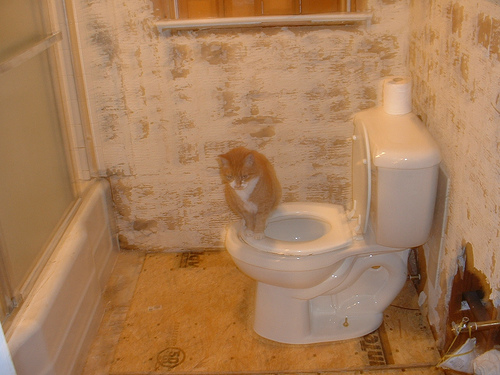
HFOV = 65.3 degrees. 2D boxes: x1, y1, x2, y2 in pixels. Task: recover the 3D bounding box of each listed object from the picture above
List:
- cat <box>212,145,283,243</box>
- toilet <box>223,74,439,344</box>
[{"bbox_3d":[0.003,0.001,1.949,0.296,0.443,0.486,-2,22,15],"label":"cat"},{"bbox_3d":[0.332,0.149,1.698,0.795,1.109,0.412,-5,30,-2],"label":"toilet"}]
